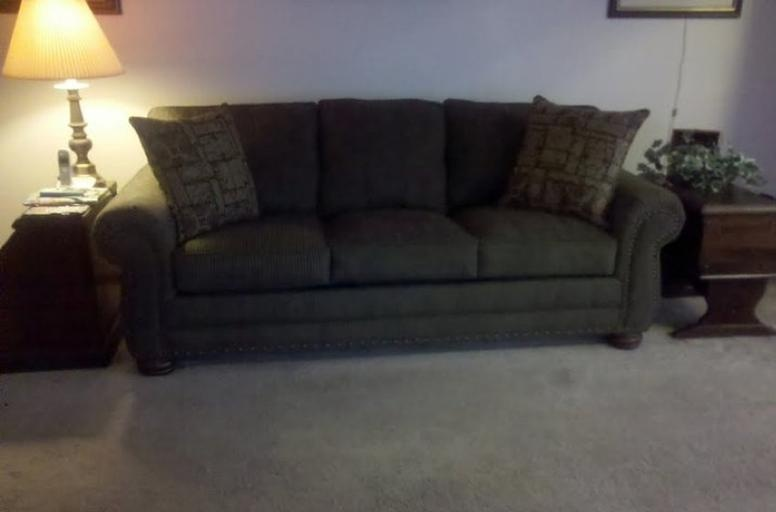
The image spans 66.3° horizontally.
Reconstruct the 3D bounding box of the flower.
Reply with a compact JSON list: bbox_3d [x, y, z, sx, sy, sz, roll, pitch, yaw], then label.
[{"bbox_3d":[1.902,-0.559,3.504,0.573,0.161,0.598,-26,39,-28],"label":"flower"}]

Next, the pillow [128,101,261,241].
[{"bbox_3d":[-1.034,-0.457,3.070,0.175,0.679,0.658,-16,8,45],"label":"pillow"}]
